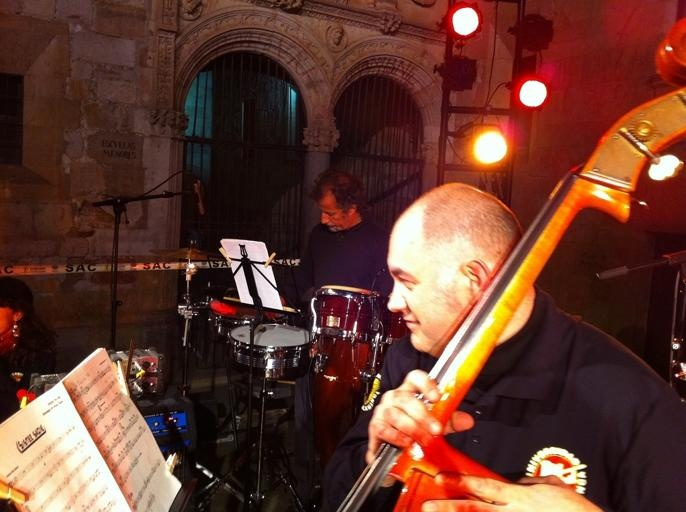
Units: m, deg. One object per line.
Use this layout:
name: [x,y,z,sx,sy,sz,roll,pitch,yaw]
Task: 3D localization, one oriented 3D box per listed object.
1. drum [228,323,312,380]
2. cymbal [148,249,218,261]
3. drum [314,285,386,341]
drum: [-0.610,0.766,4.788,0.567,0.245,0.596,4,4,0]
cymbal: [-1.444,-0.023,5.320,0.400,0.099,0.421,9,-2,21]
drum: [0.048,0.486,4.839,0.459,0.314,0.460,4,-5,0]
